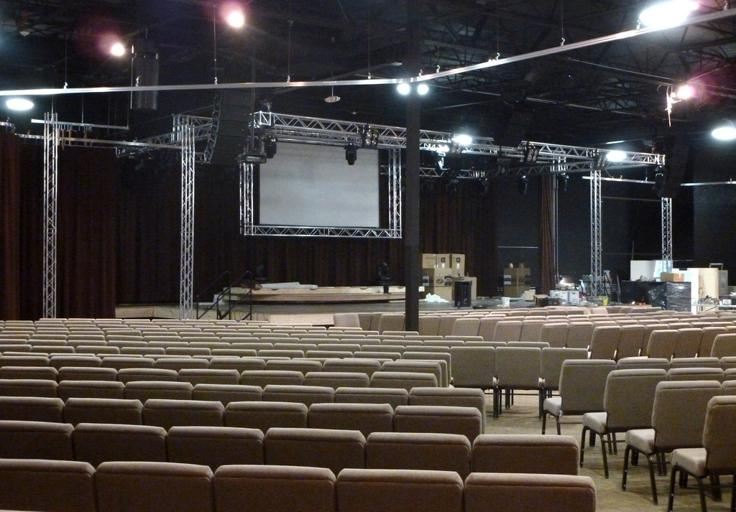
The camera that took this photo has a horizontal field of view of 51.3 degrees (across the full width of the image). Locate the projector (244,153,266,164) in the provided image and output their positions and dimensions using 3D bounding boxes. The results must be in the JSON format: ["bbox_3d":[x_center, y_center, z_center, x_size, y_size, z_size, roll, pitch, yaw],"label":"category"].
[{"bbox_3d":[-3.066,-2.577,20.368,0.282,0.232,0.897,3,0,29],"label":"projector"}]

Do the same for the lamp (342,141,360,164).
[{"bbox_3d":[-0.479,-3.038,22.915,0.383,0.607,0.738,3,0,0],"label":"lamp"}]

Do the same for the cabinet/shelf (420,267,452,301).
[{"bbox_3d":[2.408,1.019,26.954,0.977,1.578,1.088,-3,-2,32],"label":"cabinet/shelf"}]

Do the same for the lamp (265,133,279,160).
[{"bbox_3d":[-2.682,-3.008,21.126,0.285,0.571,0.687,2,0,-5],"label":"lamp"}]
